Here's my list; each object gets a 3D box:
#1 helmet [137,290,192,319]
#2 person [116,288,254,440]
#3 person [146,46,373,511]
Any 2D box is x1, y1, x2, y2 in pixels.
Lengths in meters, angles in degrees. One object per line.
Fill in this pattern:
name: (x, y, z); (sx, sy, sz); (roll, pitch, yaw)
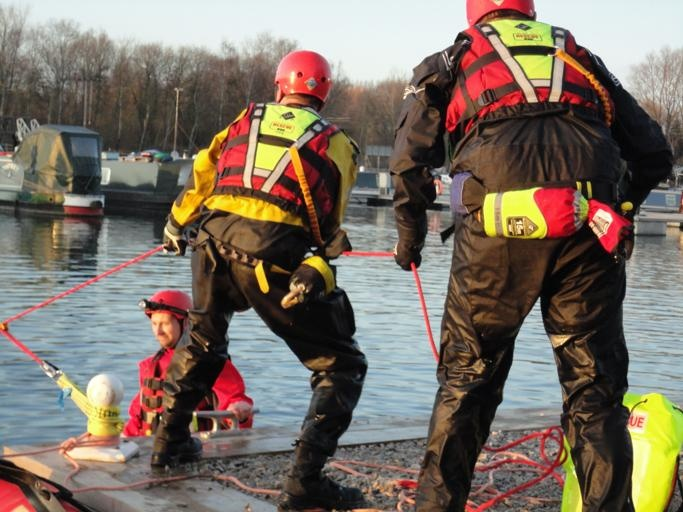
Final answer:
helmet: (-1.380, 0.357, 8.698); (0.414, 0.247, 0.284); (-2, 2, -19)
person: (-1.208, 0.879, 8.755); (0.962, 1.106, 0.397); (-33, -48, 24)
person: (-0.471, 0.103, 7.364); (1.429, 2.960, 0.983); (3, 4, 10)
